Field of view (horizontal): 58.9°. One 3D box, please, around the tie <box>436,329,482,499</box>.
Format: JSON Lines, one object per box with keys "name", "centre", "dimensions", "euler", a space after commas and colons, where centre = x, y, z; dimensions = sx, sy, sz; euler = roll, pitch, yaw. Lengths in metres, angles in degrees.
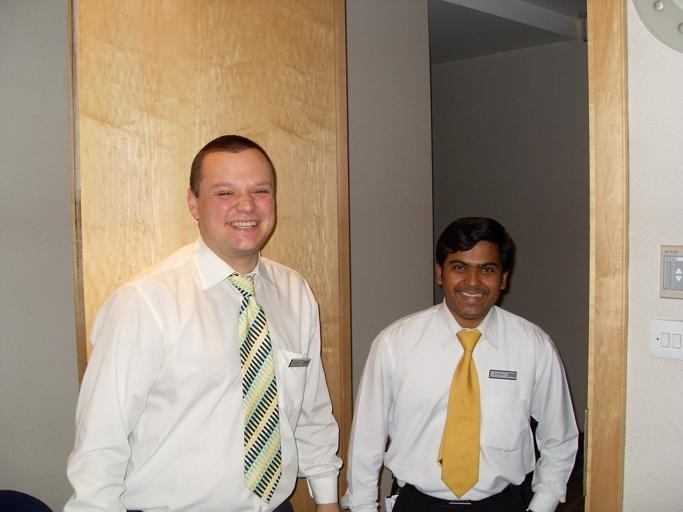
{"name": "tie", "centre": [0.477, 0.611, 2.369], "dimensions": [0.132, 0.458, 0.230], "euler": [-3, -2, 41]}
